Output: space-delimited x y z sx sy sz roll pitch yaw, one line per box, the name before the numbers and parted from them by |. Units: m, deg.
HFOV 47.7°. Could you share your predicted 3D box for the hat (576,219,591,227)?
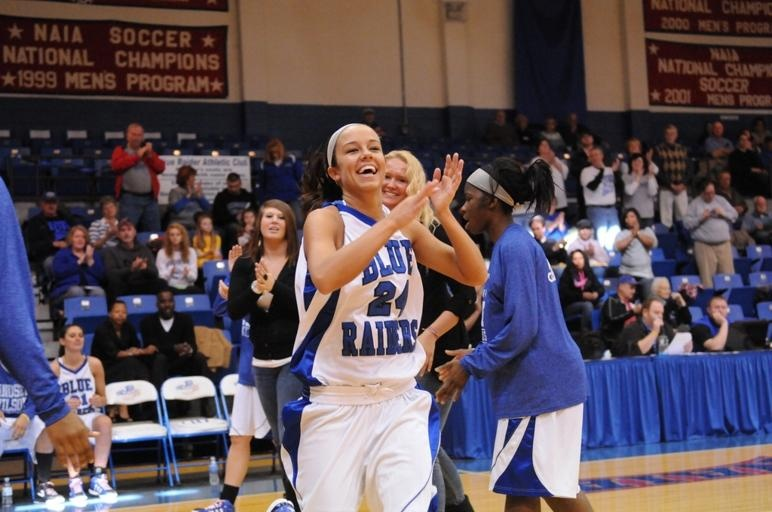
hat | 3.521 -0.549 15.413 0.159 0.134 0.167 2 -1 3
